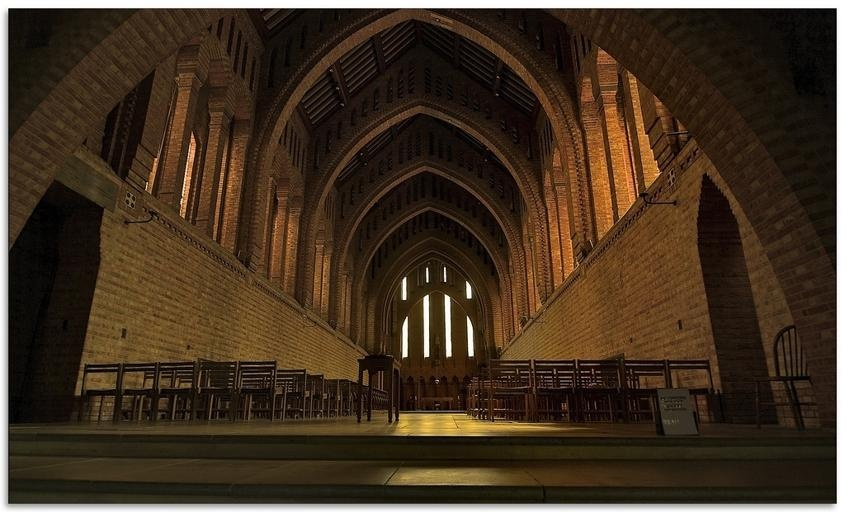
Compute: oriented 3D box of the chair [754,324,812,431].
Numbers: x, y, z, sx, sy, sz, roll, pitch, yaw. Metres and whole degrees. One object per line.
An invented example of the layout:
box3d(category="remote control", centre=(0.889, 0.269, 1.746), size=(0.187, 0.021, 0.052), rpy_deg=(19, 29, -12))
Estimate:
box3d(category="chair", centre=(5.402, 1.877, 8.297), size=(0.801, 1.488, 2.187), rpy_deg=(-12, -23, 28))
